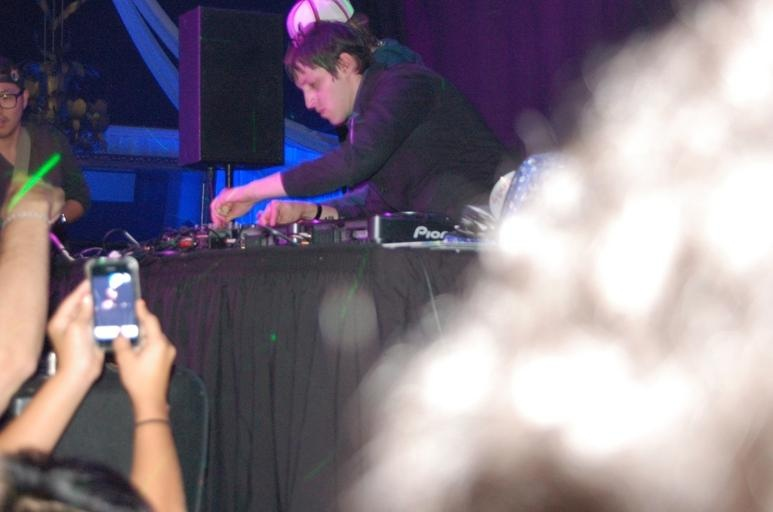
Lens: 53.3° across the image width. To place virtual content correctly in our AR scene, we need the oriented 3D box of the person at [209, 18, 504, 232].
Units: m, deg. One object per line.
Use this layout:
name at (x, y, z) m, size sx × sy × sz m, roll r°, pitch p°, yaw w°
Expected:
person at (-0.098, -0.411, 2.387) m, size 0.966 × 0.593 × 0.547 m, roll -9°, pitch 6°, yaw -30°
